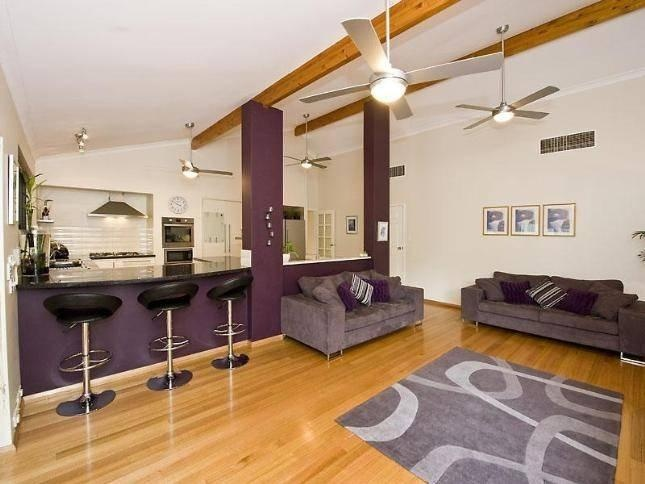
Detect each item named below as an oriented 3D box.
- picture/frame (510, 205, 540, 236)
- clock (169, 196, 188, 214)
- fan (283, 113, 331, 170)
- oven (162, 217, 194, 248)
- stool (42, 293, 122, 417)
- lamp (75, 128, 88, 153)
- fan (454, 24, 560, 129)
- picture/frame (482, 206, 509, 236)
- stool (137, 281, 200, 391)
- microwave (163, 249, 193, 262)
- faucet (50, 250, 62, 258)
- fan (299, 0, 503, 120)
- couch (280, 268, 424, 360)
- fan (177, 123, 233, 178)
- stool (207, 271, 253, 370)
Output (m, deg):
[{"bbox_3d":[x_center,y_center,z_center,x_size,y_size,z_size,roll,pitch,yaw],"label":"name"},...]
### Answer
[{"bbox_3d":[3.269,-0.350,7.168,0.034,0.665,0.516,6,-4,-42],"label":"picture/frame"},{"bbox_3d":[-2.680,-0.689,8.270,0.026,0.245,0.249,1,-36,50],"label":"clock"},{"bbox_3d":[-0.160,-1.943,9.232,1.054,1.109,1.065,2,-1,-17],"label":"fan"},{"bbox_3d":[-2.751,-0.172,8.384,0.579,0.545,0.422,0,0,-36],"label":"oven"},{"bbox_3d":[-2.544,1.156,4.801,0.739,1.200,0.624,-2,5,-24],"label":"stool"},{"bbox_3d":[-3.423,-1.453,6.350,0.157,0.218,0.232,-8,-5,25],"label":"lamp"},{"bbox_3d":[2.456,-2.273,6.005,1.230,1.296,1.348,0,-2,-11],"label":"fan"},{"bbox_3d":[2.916,-0.360,7.500,0.044,0.660,0.511,7,-4,-39],"label":"picture/frame"},{"bbox_3d":[-1.743,1.021,5.160,0.644,1.213,0.631,-1,6,-11],"label":"stool"},{"bbox_3d":[-2.625,0.231,8.250,0.594,0.258,0.151,-11,18,-43],"label":"microwave"},{"bbox_3d":[-3.928,0.181,6.607,0.057,0.143,0.139,9,15,29],"label":"faucet"},{"bbox_3d":[1.041,-2.266,5.492,1.167,1.144,1.070,-14,-27,42],"label":"fan"},{"bbox_3d":[0.445,0.915,6.576,2.093,0.827,1.219,-10,17,-42],"label":"couch"},{"bbox_3d":[-2.128,-1.508,7.401,1.075,0.841,0.983,-9,22,-41],"label":"fan"},{"bbox_3d":[-1.142,0.958,5.610,0.608,1.110,0.547,-4,7,-34],"label":"stool"}]
